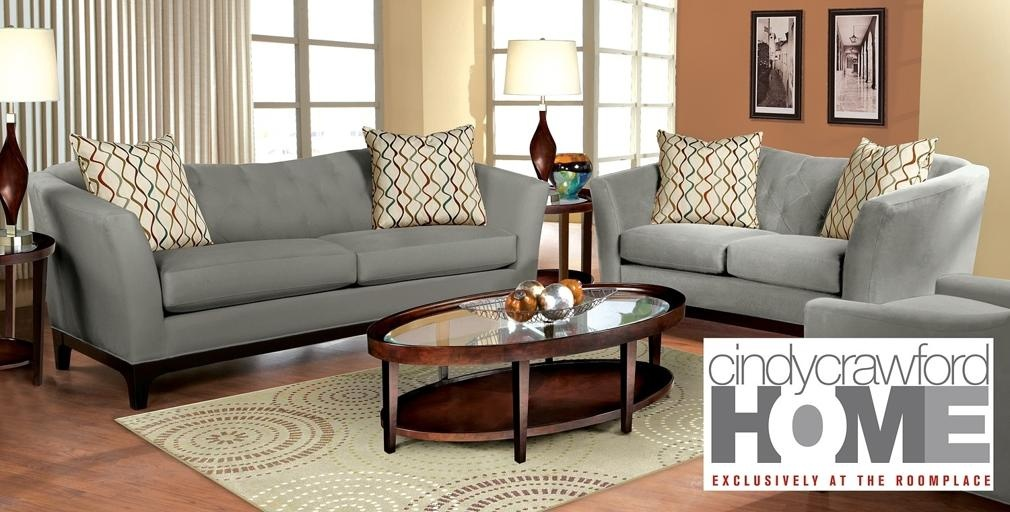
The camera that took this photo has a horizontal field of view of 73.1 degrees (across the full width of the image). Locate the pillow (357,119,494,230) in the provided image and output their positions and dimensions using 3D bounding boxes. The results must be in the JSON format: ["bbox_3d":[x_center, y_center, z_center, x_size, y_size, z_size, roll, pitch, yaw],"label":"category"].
[{"bbox_3d":[-0.694,-0.623,5.514,1.073,0.750,0.511,-6,22,-41],"label":"pillow"}]

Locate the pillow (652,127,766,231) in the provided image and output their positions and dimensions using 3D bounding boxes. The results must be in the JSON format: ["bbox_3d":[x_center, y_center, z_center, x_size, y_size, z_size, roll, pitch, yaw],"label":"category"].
[{"bbox_3d":[1.694,-0.622,5.611,0.941,0.682,0.344,6,8,42],"label":"pillow"}]

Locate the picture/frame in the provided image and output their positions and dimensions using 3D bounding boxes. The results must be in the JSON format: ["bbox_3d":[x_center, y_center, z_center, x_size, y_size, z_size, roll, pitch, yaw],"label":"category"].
[{"bbox_3d":[3.353,-2.002,7.160,1.727,1.162,0.156,3,8,31],"label":"picture/frame"}]

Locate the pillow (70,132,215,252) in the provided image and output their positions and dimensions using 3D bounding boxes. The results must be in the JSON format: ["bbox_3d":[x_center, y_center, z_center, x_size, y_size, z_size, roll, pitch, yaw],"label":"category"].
[{"bbox_3d":[-2.411,-0.447,4.592,0.296,0.793,0.953,-26,-6,34],"label":"pillow"}]

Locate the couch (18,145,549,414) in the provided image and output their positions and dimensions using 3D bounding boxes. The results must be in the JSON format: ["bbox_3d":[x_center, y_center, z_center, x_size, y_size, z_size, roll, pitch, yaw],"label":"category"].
[{"bbox_3d":[-1.397,-0.122,5.233,3.314,1.071,1.357,-6,24,-38],"label":"couch"}]

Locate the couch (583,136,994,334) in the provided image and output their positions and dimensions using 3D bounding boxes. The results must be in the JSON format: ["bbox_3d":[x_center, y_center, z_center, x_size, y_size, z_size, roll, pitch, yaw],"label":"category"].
[{"bbox_3d":[2.353,-0.038,5.300,2.932,1.265,1.595,4,6,39],"label":"couch"}]
